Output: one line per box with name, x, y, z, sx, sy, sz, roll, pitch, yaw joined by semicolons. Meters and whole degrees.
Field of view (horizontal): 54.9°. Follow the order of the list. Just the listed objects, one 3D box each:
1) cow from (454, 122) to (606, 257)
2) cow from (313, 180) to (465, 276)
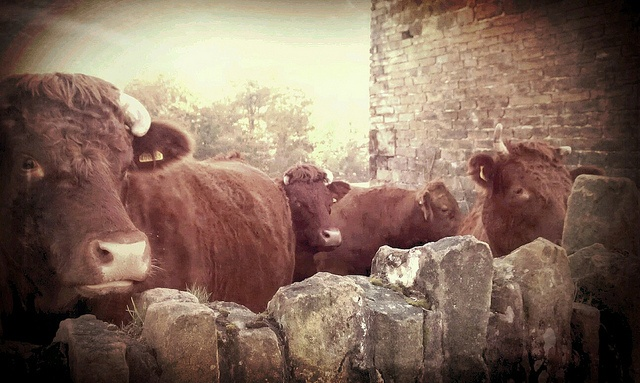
cow;2.142;0.025;6.632;0.928;1.010;1.905;-2;-10;-12
cow;0.645;0.574;8.032;2.292;1.300;0.860;3;2;34
